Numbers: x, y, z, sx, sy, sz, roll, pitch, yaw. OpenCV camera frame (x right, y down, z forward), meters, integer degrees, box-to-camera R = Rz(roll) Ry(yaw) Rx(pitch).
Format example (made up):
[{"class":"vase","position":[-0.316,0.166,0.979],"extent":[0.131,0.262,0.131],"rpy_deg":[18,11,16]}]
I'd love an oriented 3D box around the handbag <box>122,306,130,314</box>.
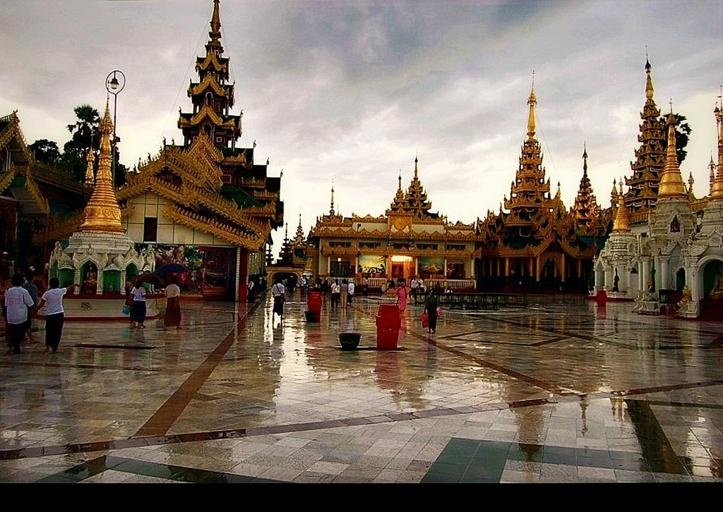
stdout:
[{"class":"handbag","position":[-6.872,1.571,18.016],"extent":[0.289,0.272,0.118],"rpy_deg":[3,19,-18]}]

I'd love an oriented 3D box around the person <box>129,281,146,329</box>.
[{"class":"person","position":[-6.217,1.320,17.138],"extent":[0.366,1.306,1.196],"rpy_deg":[3,-5,-20]}]

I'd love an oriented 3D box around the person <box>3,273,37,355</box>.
[{"class":"person","position":[-6.790,1.112,12.153],"extent":[0.500,1.541,1.257],"rpy_deg":[4,-5,-28]}]

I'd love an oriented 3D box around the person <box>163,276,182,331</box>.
[{"class":"person","position":[-5.065,1.325,16.569],"extent":[0.396,1.225,0.688],"rpy_deg":[3,-5,-17]}]

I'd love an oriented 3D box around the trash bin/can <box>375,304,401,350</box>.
[{"class":"trash bin/can","position":[0.615,1.580,13.921],"extent":[0.498,0.987,0.983],"rpy_deg":[1,-5,1]}]
